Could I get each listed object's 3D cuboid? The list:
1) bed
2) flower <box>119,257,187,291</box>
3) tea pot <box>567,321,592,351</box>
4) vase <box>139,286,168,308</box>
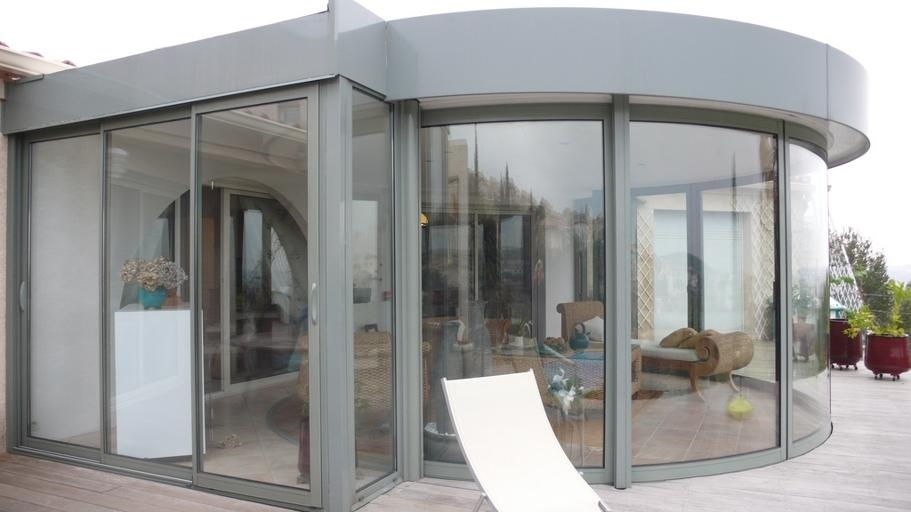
[{"bbox_3d":[2.480,1.121,8.067,2.125,1.060,1.157,-2,-2,23],"label":"bed"},{"bbox_3d":[-3.826,0.202,8.195,0.717,0.436,0.321,-2,-23,-4],"label":"flower"},{"bbox_3d":[1.519,0.957,7.908,0.307,0.340,0.299,0,3,0],"label":"tea pot"},{"bbox_3d":[-3.809,0.529,8.239,0.347,0.331,0.257,0,-3,-11],"label":"vase"}]
